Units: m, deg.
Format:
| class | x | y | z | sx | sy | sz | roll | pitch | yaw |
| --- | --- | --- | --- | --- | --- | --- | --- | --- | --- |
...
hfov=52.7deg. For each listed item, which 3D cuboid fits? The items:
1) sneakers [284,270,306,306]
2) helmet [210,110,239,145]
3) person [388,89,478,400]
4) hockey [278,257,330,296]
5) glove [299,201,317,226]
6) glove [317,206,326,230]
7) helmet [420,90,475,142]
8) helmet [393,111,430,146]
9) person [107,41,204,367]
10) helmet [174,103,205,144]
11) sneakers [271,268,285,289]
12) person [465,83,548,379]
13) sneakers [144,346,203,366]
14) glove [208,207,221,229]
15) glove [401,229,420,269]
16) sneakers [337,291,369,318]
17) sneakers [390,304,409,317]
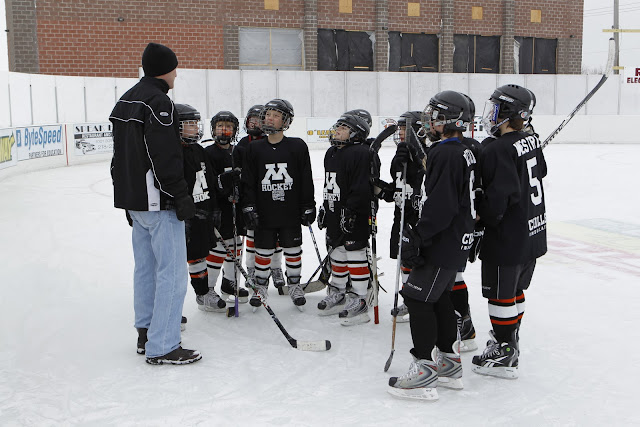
| class | x | y | z | sx | sy | sz | roll | pitch | yaw |
| --- | --- | --- | --- | --- | --- | --- | --- | --- | --- |
| sneakers | -0.286 | 0.874 | 7.457 | 0.153 | 0.208 | 0.476 | -4 | 12 | -9 |
| helmet | -1.079 | -0.984 | 7.520 | 0.349 | 0.373 | 0.346 | 3 | 4 | -6 |
| person | 1.085 | 0.272 | 5.926 | 0.563 | 2.723 | 0.941 | 6 | 12 | 31 |
| hockey | -0.150 | 0.739 | 7.718 | 0.482 | 0.120 | 0.510 | -6 | 42 | 3 |
| glove | -0.115 | 0.018 | 7.547 | 0.252 | 0.260 | 0.199 | -10 | -26 | 26 |
| glove | 0.020 | 0.050 | 7.574 | 0.079 | 0.211 | 0.186 | 3 | -2 | -1 |
| helmet | 1.215 | -0.945 | 6.200 | 0.480 | 0.471 | 0.402 | 6 | 15 | 4 |
| helmet | 1.001 | -0.926 | 6.908 | 0.431 | 0.404 | 0.333 | 10 | 3 | -12 |
| person | -1.566 | -0.088 | 6.236 | 0.600 | 3.038 | 0.807 | -8 | 13 | -38 |
| helmet | -1.388 | -0.938 | 6.791 | 0.390 | 0.398 | 0.322 | 5 | 8 | 29 |
| sneakers | -0.502 | 0.774 | 7.855 | 0.104 | 0.319 | 0.125 | -13 | -19 | 0 |
| person | 1.812 | 0.151 | 6.186 | 0.574 | 2.698 | 0.767 | 7 | 12 | 35 |
| sneakers | -1.406 | 1.377 | 6.252 | 0.507 | 0.238 | 0.199 | -3 | 4 | -9 |
| glove | -1.173 | 0.045 | 7.255 | 0.068 | 0.193 | 0.140 | 2 | 7 | -16 |
| glove | 0.814 | 0.321 | 5.854 | 0.114 | 0.296 | 0.228 | 10 | 26 | 21 |
| sneakers | 0.373 | 1.006 | 7.087 | 0.151 | 0.204 | 0.466 | -6 | -6 | 22 |
| sneakers | 0.861 | 1.034 | 6.854 | 0.137 | 0.176 | 0.418 | -1 | -5 | 14 |
